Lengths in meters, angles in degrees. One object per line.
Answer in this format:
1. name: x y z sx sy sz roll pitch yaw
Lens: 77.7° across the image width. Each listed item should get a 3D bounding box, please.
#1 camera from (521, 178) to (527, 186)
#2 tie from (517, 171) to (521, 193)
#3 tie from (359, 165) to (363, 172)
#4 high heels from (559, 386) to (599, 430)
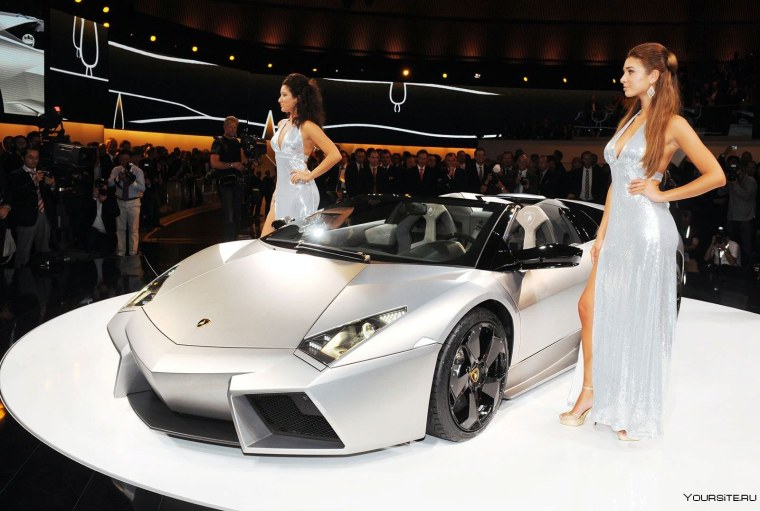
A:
1. camera: 2.913 -1.482 9.518 0.138 0.148 0.053 7 -8 -8
2. tie: 2.833 -1.487 9.553 0.118 0.384 0.105 0 -22 12
3. tie: -0.376 -1.724 9.338 0.086 0.090 0.021 9 7 29
4. high heels: 1.367 1.056 3.229 0.126 0.179 0.380 -3 -3 42
